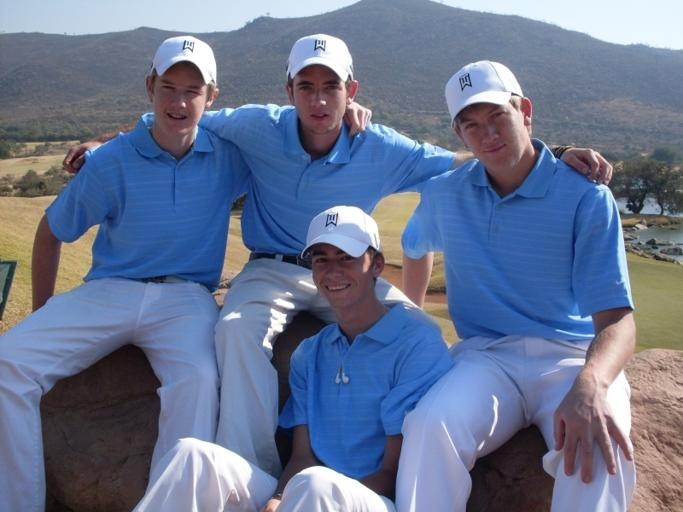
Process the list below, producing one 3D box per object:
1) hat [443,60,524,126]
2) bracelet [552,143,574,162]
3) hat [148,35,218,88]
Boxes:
[{"bbox_3d":[0.876,-1.106,4.285,0.411,0.343,0.617,-19,4,22],"label":"hat"},{"bbox_3d":[1.470,-0.698,4.330,0.088,0.055,0.124,13,23,25],"label":"bracelet"},{"bbox_3d":[-1.200,-1.494,4.930,0.453,0.387,0.655,4,0,-20],"label":"hat"}]
